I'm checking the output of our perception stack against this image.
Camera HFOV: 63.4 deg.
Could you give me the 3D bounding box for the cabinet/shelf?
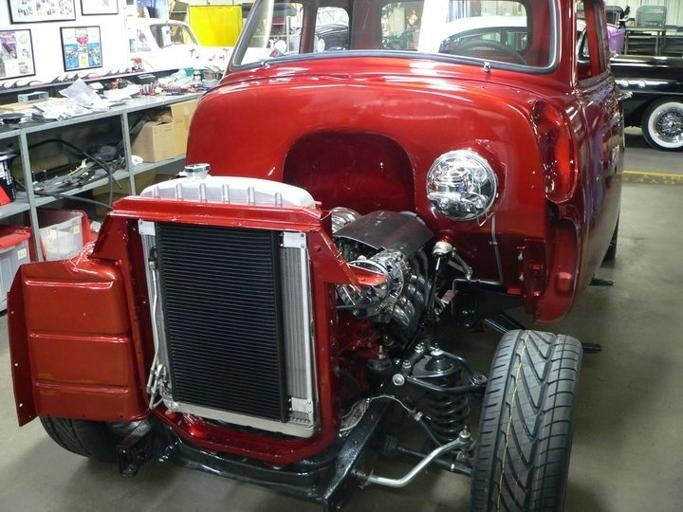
[{"bbox_3d":[-1.575,-0.393,3.415,0.330,0.940,1.845,8,28,17],"label":"cabinet/shelf"}]
